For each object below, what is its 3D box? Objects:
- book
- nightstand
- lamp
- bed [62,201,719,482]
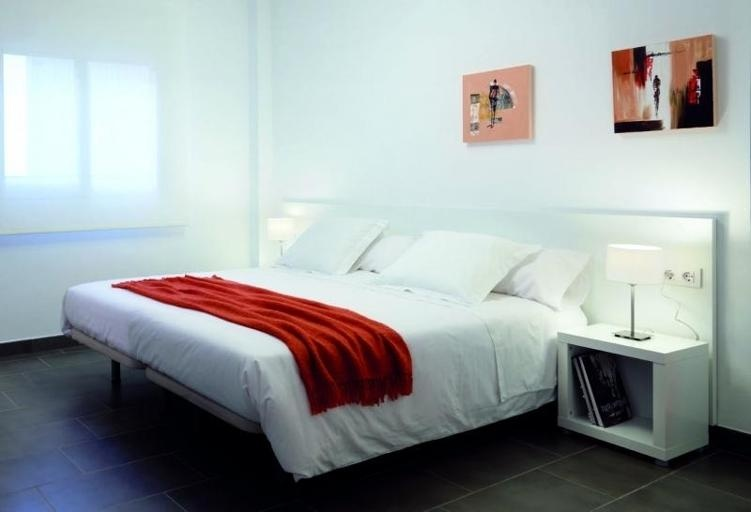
[{"bbox_3d":[1.441,0.841,3.377,0.105,0.439,0.432,-34,29,28],"label":"book"},{"bbox_3d":[1.608,0.688,3.409,0.676,0.922,0.978,1,-3,-34],"label":"nightstand"},{"bbox_3d":[1.639,0.216,3.289,0.318,0.578,0.391,6,11,31],"label":"lamp"},{"bbox_3d":[0.217,0.405,3.456,3.590,1.405,1.903,-2,9,-14],"label":"bed"}]
